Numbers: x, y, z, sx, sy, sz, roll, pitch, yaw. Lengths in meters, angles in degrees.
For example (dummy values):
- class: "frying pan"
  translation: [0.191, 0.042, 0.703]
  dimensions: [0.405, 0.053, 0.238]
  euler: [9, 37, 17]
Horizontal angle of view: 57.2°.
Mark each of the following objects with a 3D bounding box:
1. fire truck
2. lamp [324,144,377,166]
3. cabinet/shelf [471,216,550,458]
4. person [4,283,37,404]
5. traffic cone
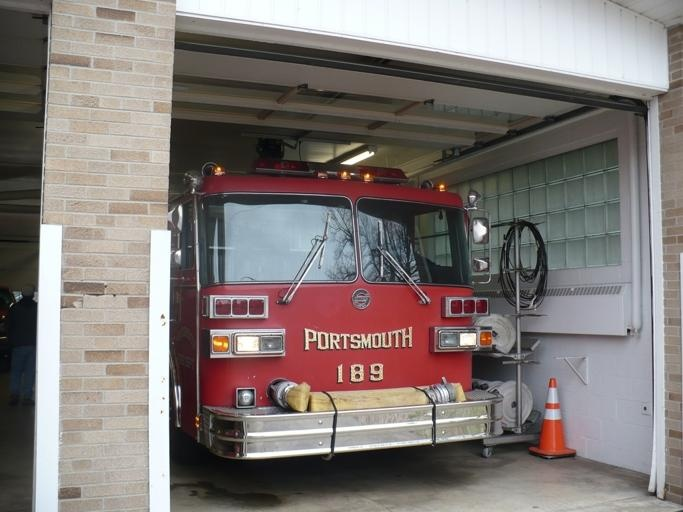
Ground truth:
- class: "fire truck"
  translation: [-1.226, 0.465, 9.337]
  dimensions: [4.086, 3.175, 6.991]
  euler: [0, 4, -29]
- class: "lamp"
  translation: [0.130, -1.786, 10.907]
  dimensions: [0.150, 0.102, 1.020]
  euler: [-24, 8, -26]
- class: "cabinet/shelf"
  translation: [2.480, 1.136, 8.860]
  dimensions: [1.183, 3.301, 1.027]
  euler: [2, 5, 8]
- class: "person"
  translation: [-5.848, 1.668, 11.450]
  dimensions: [0.466, 2.207, 1.023]
  euler: [1, -3, -28]
- class: "traffic cone"
  translation: [2.709, 2.083, 8.066]
  dimensions: [0.583, 0.988, 0.401]
  euler: [2, -3, -35]
